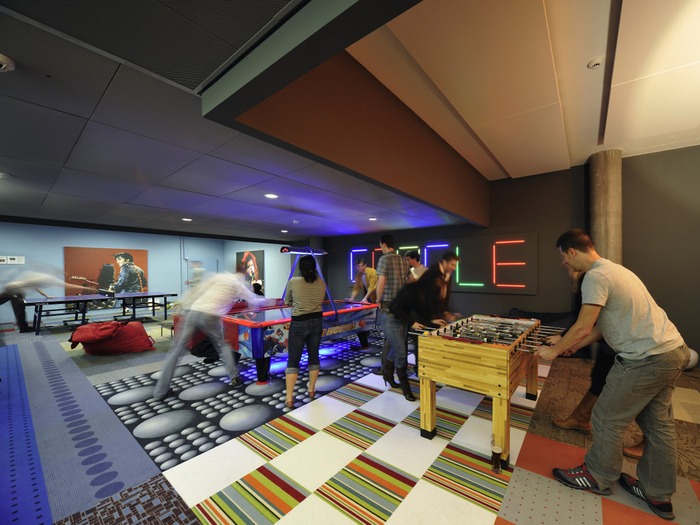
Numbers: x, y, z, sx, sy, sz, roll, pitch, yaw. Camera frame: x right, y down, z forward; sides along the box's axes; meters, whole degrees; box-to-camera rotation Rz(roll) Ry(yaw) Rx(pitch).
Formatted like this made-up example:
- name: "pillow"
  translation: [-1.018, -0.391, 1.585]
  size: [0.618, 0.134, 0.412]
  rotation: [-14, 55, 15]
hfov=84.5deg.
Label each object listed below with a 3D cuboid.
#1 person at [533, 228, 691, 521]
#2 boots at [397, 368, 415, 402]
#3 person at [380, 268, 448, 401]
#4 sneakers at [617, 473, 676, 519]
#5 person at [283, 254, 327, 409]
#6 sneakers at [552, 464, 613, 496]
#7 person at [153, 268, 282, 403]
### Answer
- name: "person"
  translation: [2.095, 0.812, 3.015]
  size: [0.961, 2.048, 0.718]
  rotation: [9, 16, 37]
- name: "boots"
  translation: [0.659, 1.337, 4.302]
  size: [0.184, 0.364, 0.237]
  rotation: [-12, 17, -40]
- name: "person"
  translation: [0.736, 0.770, 4.549]
  size: [0.428, 1.483, 0.930]
  rotation: [7, 15, 30]
- name: "sneakers"
  translation: [2.267, 1.801, 2.970]
  size: [0.122, 0.155, 0.352]
  rotation: [-10, 11, -8]
- name: "person"
  translation: [-0.550, 0.760, 4.314]
  size: [0.393, 1.634, 0.779]
  rotation: [6, 14, 26]
- name: "sneakers"
  translation: [1.827, 1.729, 3.073]
  size: [0.413, 0.179, 0.178]
  rotation: [5, -6, 24]
- name: "person"
  translation: [-1.673, 0.857, 4.971]
  size: [1.626, 1.333, 0.830]
  rotation: [-2, -4, -31]
